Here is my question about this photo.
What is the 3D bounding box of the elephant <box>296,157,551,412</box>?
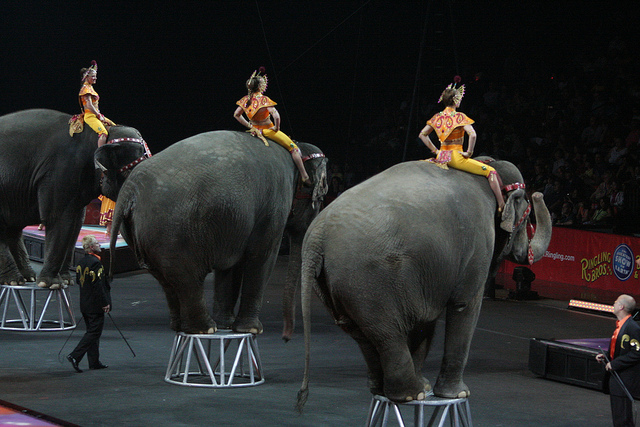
[{"bbox_3d":[0.776,0.703,7.768,1.944,2.249,0.773,2,10,-8],"label":"elephant"}]

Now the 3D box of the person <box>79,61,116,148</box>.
[{"bbox_3d":[-3.497,-1.704,12.226,0.512,1.320,0.934,2,9,-14],"label":"person"}]

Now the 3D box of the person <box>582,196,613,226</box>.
[{"bbox_3d":[6.167,-0.058,17.074,0.643,0.635,0.339,8,10,34],"label":"person"}]

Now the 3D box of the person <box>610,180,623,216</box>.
[{"bbox_3d":[6.448,-0.354,16.958,0.216,0.726,0.621,6,8,10],"label":"person"}]

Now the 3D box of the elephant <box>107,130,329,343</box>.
[{"bbox_3d":[-1.423,0.300,10.197,1.950,2.505,3.780,5,5,38],"label":"elephant"}]
